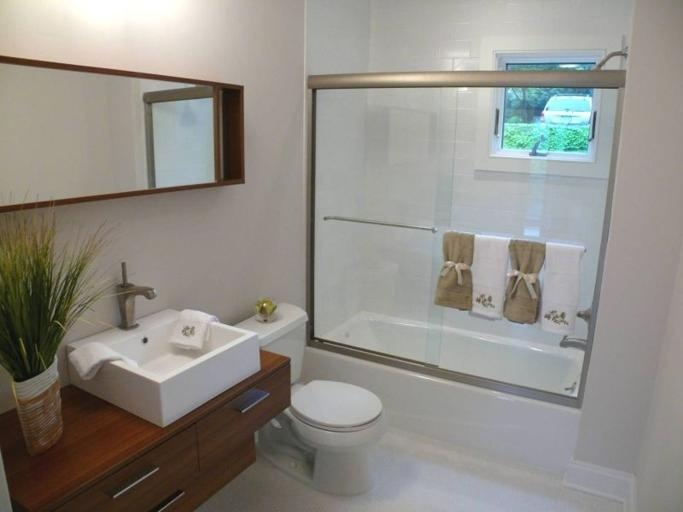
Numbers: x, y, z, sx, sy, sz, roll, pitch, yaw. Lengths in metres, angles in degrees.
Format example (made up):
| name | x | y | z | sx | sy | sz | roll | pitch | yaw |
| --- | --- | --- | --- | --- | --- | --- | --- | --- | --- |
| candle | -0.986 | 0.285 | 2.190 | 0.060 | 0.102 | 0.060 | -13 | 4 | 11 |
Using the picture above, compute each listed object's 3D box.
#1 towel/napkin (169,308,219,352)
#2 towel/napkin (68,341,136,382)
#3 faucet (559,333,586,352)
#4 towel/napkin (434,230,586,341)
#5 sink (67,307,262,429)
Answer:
| name | x | y | z | sx | sy | sz | roll | pitch | yaw |
| --- | --- | --- | --- | --- | --- | --- | --- | --- | --- |
| towel/napkin | -0.645 | 0.318 | 2.131 | 0.168 | 0.179 | 0.068 | 11 | -15 | 11 |
| towel/napkin | -0.907 | 0.372 | 1.825 | 0.174 | 0.066 | 0.168 | 13 | 13 | 36 |
| faucet | 1.201 | 0.448 | 2.565 | 0.168 | 0.043 | 0.041 | 7 | 35 | 37 |
| towel/napkin | 0.930 | 0.146 | 2.641 | 0.526 | 0.381 | 0.131 | 9 | 16 | 29 |
| sink | -0.581 | 0.335 | 1.896 | 0.412 | 0.159 | 0.457 | 8 | 13 | 29 |
